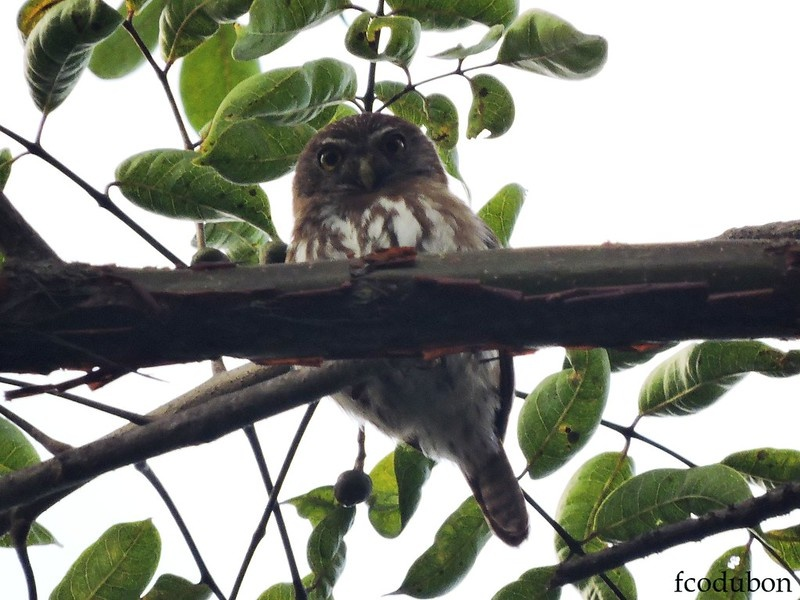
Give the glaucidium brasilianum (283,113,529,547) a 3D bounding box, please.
[{"bbox_3d":[0.022,0.002,6.974,0.837,0.931,1.821,-9,-76,6],"label":"glaucidium brasilianum"}]
